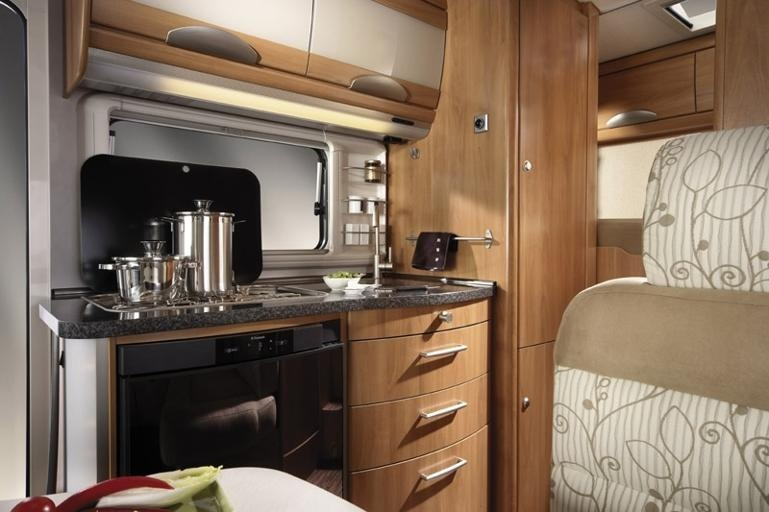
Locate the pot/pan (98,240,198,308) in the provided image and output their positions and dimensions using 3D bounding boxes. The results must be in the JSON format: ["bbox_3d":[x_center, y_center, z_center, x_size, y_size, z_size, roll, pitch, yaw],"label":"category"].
[{"bbox_3d":[-0.948,0.048,2.191,0.334,0.253,0.366,6,2,42],"label":"pot/pan"}]

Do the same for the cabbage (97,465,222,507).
[{"bbox_3d":[-0.436,0.456,1.060,0.161,0.041,0.103,-13,-14,-17],"label":"cabbage"}]

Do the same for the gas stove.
[{"bbox_3d":[-0.738,0.166,2.538,1.202,0.052,1.166,0,0,-43],"label":"gas stove"}]

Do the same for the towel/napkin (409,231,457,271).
[{"bbox_3d":[0.247,-0.031,2.825,0.216,0.210,0.063,3,-14,41],"label":"towel/napkin"}]

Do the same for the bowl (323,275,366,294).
[{"bbox_3d":[-0.188,0.123,2.492,0.260,0.071,0.150,0,3,30],"label":"bowl"}]
